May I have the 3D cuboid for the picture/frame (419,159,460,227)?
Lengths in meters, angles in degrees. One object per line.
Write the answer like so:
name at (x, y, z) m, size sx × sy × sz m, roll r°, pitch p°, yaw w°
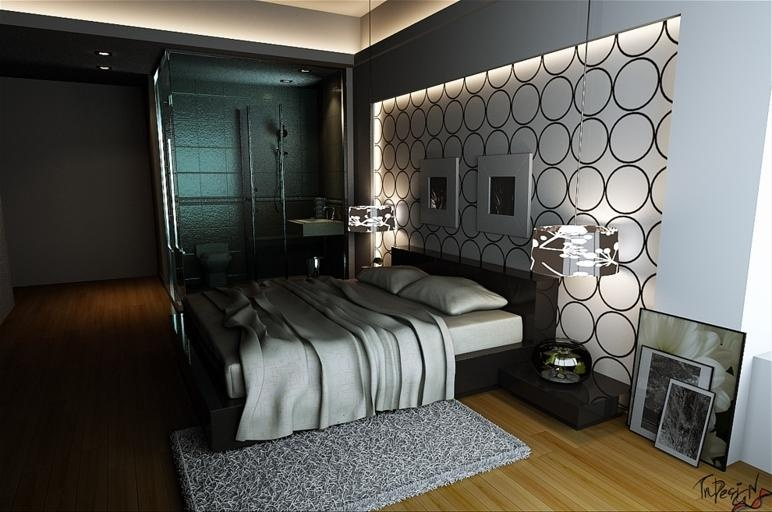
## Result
picture/frame at (0.620, -0.732, 5.729) m, size 0.064 × 0.906 × 0.779 m, roll -2°, pitch 4°, yaw -30°

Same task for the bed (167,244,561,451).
bed at (0.072, 0.740, 4.409) m, size 2.251 × 0.647 × 2.071 m, roll -4°, pitch 10°, yaw -27°

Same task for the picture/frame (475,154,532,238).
picture/frame at (1.187, -0.606, 4.994) m, size 0.077 × 1.021 × 0.819 m, roll -5°, pitch 7°, yaw -36°

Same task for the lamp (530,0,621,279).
lamp at (1.572, -0.846, 3.956) m, size 0.596 × 2.406 × 1.177 m, roll 5°, pitch 16°, yaw 24°
